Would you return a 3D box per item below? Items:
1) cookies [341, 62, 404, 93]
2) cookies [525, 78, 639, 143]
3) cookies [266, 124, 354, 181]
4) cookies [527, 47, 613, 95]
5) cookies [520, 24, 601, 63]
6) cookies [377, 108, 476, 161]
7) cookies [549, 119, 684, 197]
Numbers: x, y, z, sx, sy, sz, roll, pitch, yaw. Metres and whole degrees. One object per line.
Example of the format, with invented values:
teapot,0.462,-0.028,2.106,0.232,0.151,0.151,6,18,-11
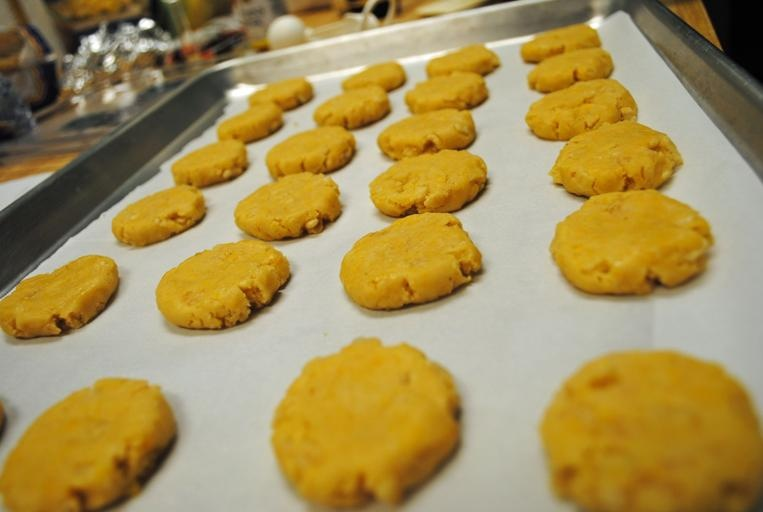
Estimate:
cookies,-0.016,-1.008,3.565,0.232,0.057,0.238,-34,27,-29
cookies,0.884,-0.659,2.868,0.393,0.118,0.307,-3,38,26
cookies,-0.345,-0.513,3.119,0.438,0.131,0.292,-11,50,3
cookies,0.909,-0.913,3.160,0.326,0.097,0.264,13,46,35
cookies,0.958,-1.146,3.408,0.372,0.096,0.220,-14,30,8
cookies,0.212,-0.577,2.987,0.340,0.103,0.287,-4,31,16
cookies,0.950,-0.387,2.600,0.436,0.144,0.423,-31,52,-13
